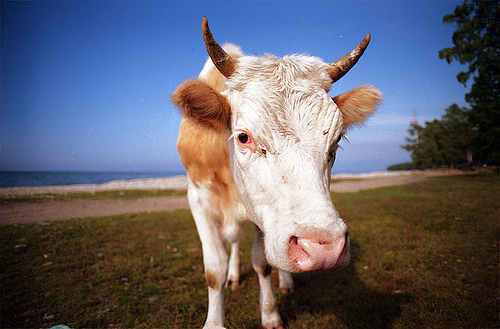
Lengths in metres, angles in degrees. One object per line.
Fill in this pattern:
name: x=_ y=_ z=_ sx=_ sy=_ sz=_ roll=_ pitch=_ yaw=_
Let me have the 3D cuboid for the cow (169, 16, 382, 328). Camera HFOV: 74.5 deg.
cow: x=0.344 y=0.299 z=6.387 sx=3.517 sy=5.957 sz=1.589 roll=-8 pitch=0 yaw=23
